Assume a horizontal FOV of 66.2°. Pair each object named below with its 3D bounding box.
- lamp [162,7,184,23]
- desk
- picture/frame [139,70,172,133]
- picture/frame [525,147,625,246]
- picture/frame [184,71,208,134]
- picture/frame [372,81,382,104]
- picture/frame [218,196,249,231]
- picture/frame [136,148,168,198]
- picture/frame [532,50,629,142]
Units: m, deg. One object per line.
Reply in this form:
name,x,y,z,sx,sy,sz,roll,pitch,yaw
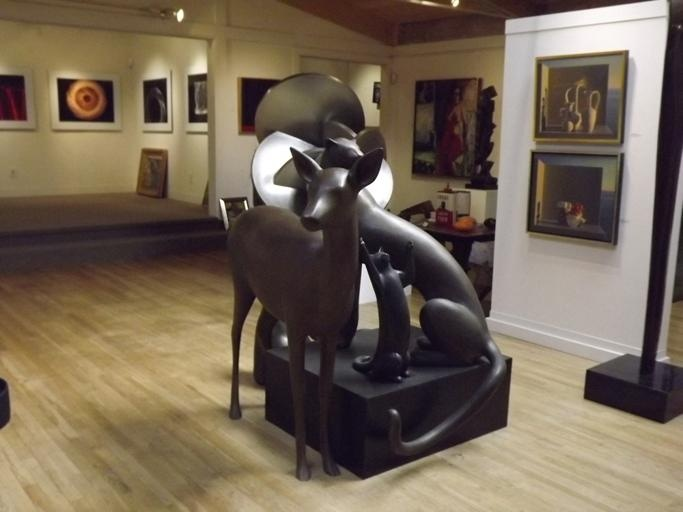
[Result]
lamp,-2.748,-3.952,8.515,0.391,0.266,0.417,-3,12,-18
desk,1.539,-0.060,6.995,0.942,0.627,0.821,2,12,6
picture/frame,-4.282,-3.536,12.020,0.029,1.275,1.094,11,19,19
picture/frame,2.124,-0.544,4.678,0.716,0.765,0.085,12,15,43
picture/frame,-3.003,-3.215,10.871,0.175,1.504,1.146,-5,14,-33
picture/frame,0.746,-3.343,10.704,0.149,0.476,0.438,-1,11,-11
picture/frame,-1.725,-0.676,8.529,0.512,0.516,0.031,-2,11,24
picture/frame,-4.452,-1.941,12.386,0.099,1.121,0.962,-4,13,-43
picture/frame,2.086,-1.386,4.612,0.697,0.799,0.016,3,-6,20
